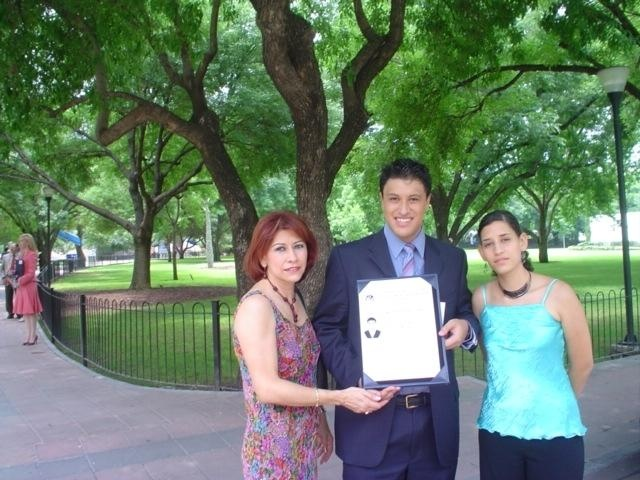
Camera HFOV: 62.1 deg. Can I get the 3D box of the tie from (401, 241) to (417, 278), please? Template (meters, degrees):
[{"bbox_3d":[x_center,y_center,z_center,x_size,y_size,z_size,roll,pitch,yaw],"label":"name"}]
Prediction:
[{"bbox_3d":[0.766,0.170,4.618,0.076,0.352,0.091,2,-7,-1],"label":"tie"}]
